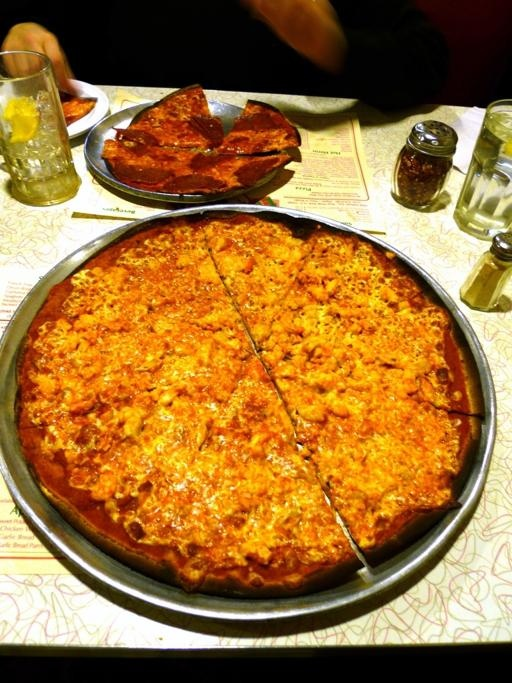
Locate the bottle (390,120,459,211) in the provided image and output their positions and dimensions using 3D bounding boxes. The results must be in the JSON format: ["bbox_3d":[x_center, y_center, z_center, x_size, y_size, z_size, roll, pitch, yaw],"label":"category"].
[{"bbox_3d":[0.376,-0.387,1.300,0.130,0.173,0.121,3,53,-4],"label":"bottle"}]
